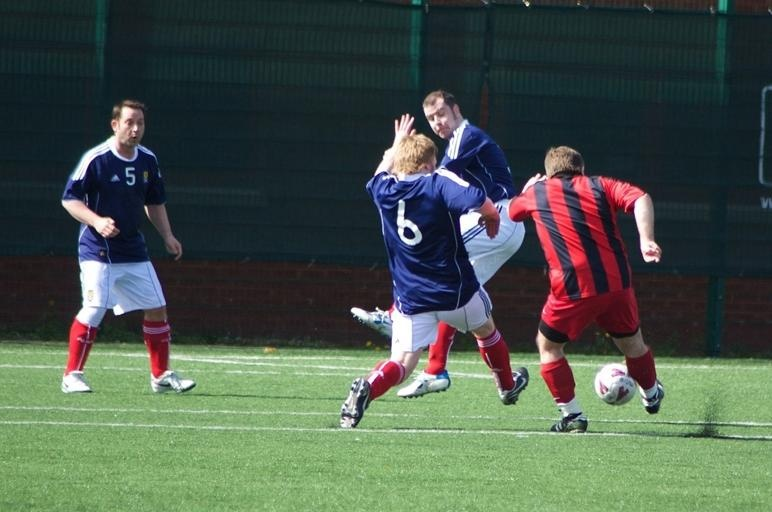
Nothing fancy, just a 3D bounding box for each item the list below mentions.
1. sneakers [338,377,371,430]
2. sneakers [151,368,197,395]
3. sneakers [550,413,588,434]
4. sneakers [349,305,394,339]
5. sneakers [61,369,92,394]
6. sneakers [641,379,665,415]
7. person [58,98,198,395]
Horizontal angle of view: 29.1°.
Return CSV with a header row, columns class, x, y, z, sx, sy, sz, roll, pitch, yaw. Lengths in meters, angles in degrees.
class,x,y,z,sx,sy,sz,roll,pitch,yaw
sneakers,-0.276,1.322,13.635,0.193,0.533,0.257,30,11,39
sneakers,-2.139,1.258,14.845,0.508,0.244,0.191,-2,-4,6
sneakers,1.691,1.537,13.679,0.389,0.175,0.144,-3,-1,26
sneakers,-0.186,0.703,16.428,0.474,0.235,0.167,37,-40,-8
sneakers,-3.068,1.223,14.605,0.316,0.205,0.254,1,2,-7
sneakers,2.522,1.333,14.050,0.145,0.204,0.450,3,44,10
person,-2.621,-0.096,14.675,1.163,2.864,0.657,1,2,-13
